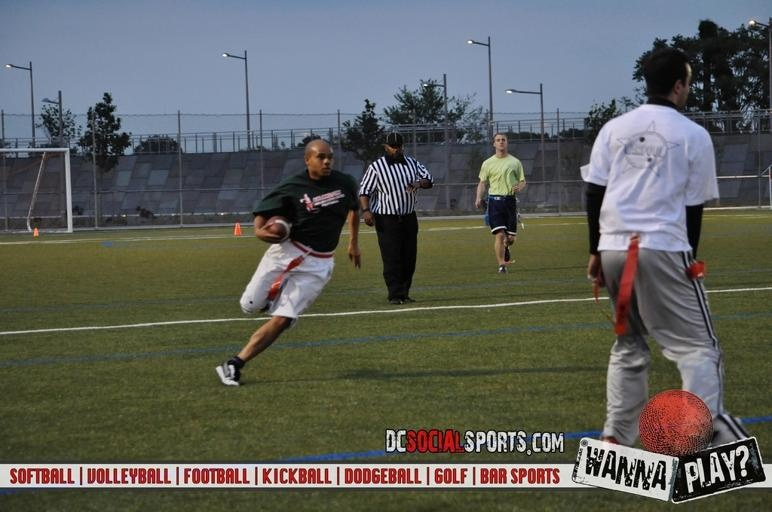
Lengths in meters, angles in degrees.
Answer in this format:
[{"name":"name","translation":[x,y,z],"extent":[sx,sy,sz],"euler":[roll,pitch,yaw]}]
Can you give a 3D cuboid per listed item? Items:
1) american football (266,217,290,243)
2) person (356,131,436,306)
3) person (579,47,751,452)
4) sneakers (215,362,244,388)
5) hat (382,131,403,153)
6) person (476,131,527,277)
[{"name":"american football","translation":[-0.950,-0.240,8.216],"extent":[0.185,0.202,0.225],"euler":[8,15,-4]},{"name":"person","translation":[0.134,-0.534,12.612],"extent":[0.961,2.312,1.096],"euler":[-3,6,5]},{"name":"person","translation":[1.807,-0.055,6.131],"extent":[0.880,2.673,0.740],"euler":[-2,6,11]},{"name":"sneakers","translation":[-1.389,1.039,8.093],"extent":[0.200,0.203,0.205],"euler":[-4,6,-7]},{"name":"hat","translation":[0.127,-1.587,12.830],"extent":[0.231,0.177,0.319],"euler":[0,6,-3]},{"name":"person","translation":[2.004,-0.925,15.780],"extent":[0.770,2.362,0.878],"euler":[-4,6,-2]}]
